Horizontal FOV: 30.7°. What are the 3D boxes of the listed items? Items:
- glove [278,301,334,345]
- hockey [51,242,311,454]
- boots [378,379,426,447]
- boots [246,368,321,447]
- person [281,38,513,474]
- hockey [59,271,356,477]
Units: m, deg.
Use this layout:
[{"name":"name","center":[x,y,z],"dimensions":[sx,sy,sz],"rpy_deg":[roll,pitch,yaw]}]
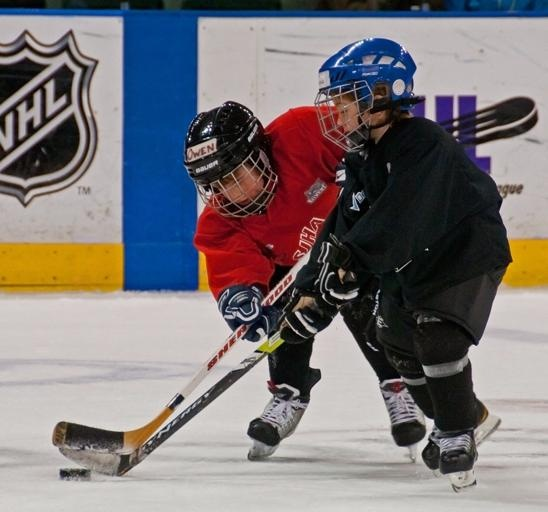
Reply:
[{"name":"glove","center":[0.102,0.207,3.050],"dimensions":[0.181,0.091,0.068],"rpy_deg":[-27,-3,15]},{"name":"hockey","center":[-0.365,0.365,3.799],"dimensions":[1.130,0.150,0.156],"rpy_deg":[-35,20,-15]},{"name":"boots","center":[0.419,0.516,3.250],"dimensions":[0.095,0.106,0.257],"rpy_deg":[-27,15,9]},{"name":"boots","center":[0.025,0.515,3.334],"dimensions":[0.127,0.125,0.318],"rpy_deg":[24,47,23]},{"name":"person","center":[0.387,0.011,2.959],"dimensions":[0.675,1.286,0.417],"rpy_deg":[10,20,33]},{"name":"hockey","center":[-0.221,0.443,3.556],"dimensions":[1.053,0.174,0.151],"rpy_deg":[-29,46,-22]}]
